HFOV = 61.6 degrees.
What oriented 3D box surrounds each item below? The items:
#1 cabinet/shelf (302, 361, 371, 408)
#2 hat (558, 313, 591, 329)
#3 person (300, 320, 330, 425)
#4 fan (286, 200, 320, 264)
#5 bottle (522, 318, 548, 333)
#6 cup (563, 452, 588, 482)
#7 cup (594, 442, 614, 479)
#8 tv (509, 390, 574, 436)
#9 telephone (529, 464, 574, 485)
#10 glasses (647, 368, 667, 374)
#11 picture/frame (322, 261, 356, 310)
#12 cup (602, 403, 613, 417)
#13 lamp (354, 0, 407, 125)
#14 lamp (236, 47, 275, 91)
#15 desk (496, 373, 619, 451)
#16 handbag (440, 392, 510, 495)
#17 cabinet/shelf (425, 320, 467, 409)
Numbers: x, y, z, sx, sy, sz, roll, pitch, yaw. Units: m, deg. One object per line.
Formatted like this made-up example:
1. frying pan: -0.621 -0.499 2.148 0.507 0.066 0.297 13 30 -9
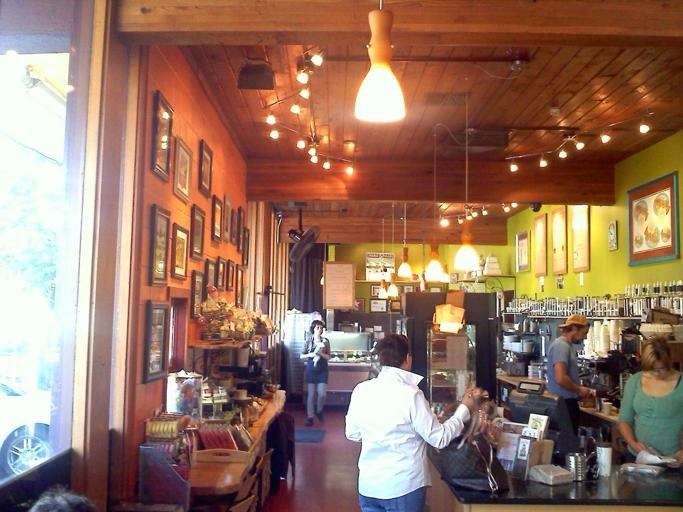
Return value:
1. cabinet/shelf: -0.098 2.674 10.987 1.326 0.947 0.802 1 -36 0
2. hat: 2.370 0.649 5.861 0.307 0.172 0.207 7 -7 21
3. person: -0.434 1.917 9.756 0.449 1.660 1.052 0 -5 -4
4. fan: -0.649 -0.418 8.855 0.548 0.638 0.581 -13 3 25
5. bottle: 3.170 1.138 9.316 0.243 0.170 0.431 2 -8 8
6. cup: 1.486 1.326 3.601 0.171 0.158 0.105 -1 -11 11
7. cup: 1.706 1.312 3.694 0.104 0.220 0.071 0 -5 -9
8. tv: 1.393 1.098 4.080 0.405 0.293 0.214 -3 8 45
9. telephone: 1.307 1.353 3.552 0.131 0.059 0.142 2 -5 -23
10. glasses: 2.400 0.865 4.366 0.075 0.062 0.128 4 -9 -2
11. picture/frame: -0.031 0.462 9.119 0.483 0.732 0.253 0 -5 -6
12. cup: 2.840 1.635 6.092 0.097 0.104 0.100 1 -10 0
13. lamp: 0.181 -0.893 2.718 0.228 0.507 0.173 -1 -5 3
14. lamp: -0.742 -1.588 4.899 0.303 0.279 0.317 -1 -5 4
15. desk: 1.509 1.285 4.191 0.684 0.530 0.394 29 -21 -36
16. handbag: 0.771 1.150 3.494 0.308 0.567 0.525 5 5 6
17. cabinet/shelf: 1.067 1.127 5.844 0.501 0.836 0.537 -1 -2 20
